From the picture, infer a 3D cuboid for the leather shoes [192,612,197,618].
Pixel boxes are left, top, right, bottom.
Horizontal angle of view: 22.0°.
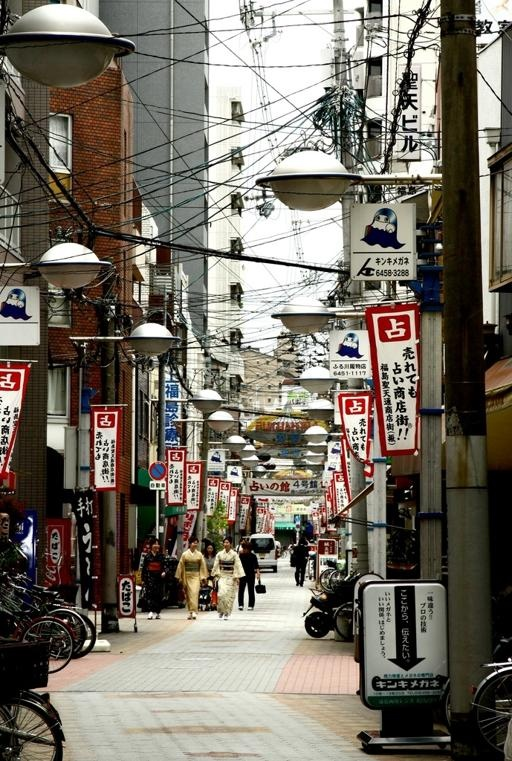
[{"bbox_3d":[-1.403,5.264,29.501,0.097,0.117,0.059,2,-33,-23],"label":"leather shoes"}]
